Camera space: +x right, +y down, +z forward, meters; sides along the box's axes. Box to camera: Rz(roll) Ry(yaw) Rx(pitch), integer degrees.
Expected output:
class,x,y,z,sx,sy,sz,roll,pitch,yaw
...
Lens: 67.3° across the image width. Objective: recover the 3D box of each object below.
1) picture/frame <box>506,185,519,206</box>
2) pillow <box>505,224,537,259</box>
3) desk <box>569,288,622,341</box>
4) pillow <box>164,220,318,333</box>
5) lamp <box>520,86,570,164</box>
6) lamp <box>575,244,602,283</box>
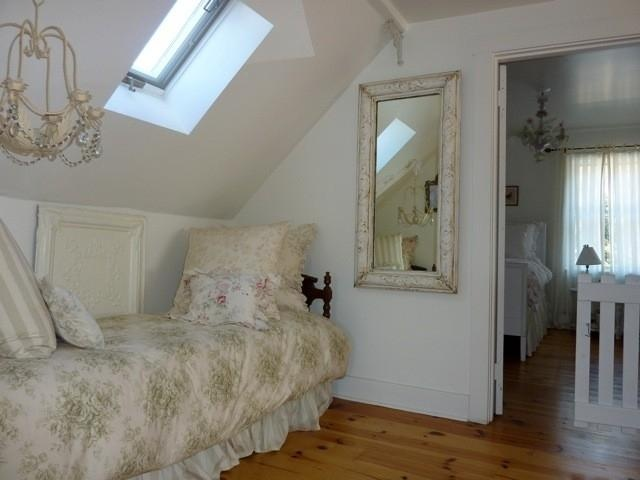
class,x,y,z,sx,sy,sz,roll,pitch,yaw
picture/frame,2.904,-0.669,7.293,0.202,0.331,0.094,0,2,-12
pillow,2.750,0.011,6.612,0.453,0.551,0.160,5,-24,-7
desk,3.707,1.022,6.462,0.638,0.504,0.999,1,2,28
pillow,-0.536,0.223,3.351,0.737,0.776,0.229,1,-22,-3
lamp,2.630,-1.416,5.709,0.550,0.927,0.583,5,-1,25
lamp,3.727,0.269,6.658,0.315,0.382,0.604,1,2,31
